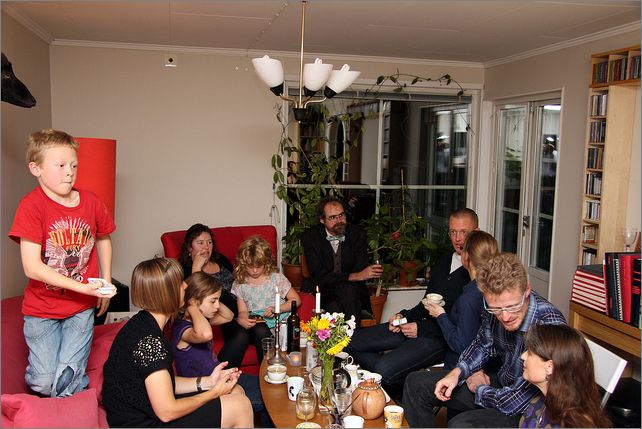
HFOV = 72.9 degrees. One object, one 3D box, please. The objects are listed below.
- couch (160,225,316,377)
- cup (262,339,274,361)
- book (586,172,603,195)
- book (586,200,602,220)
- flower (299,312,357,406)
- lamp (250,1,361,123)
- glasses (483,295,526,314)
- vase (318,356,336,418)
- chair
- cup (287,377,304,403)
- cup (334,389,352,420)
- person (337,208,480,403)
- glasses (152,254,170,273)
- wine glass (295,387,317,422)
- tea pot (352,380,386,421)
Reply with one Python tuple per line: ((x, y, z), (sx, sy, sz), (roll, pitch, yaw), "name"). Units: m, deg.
((-0.693, 0.762, 4.664), (1.364, 1.789, 1.427), (2, -8, -36), "couch")
((-0.387, 0.992, 3.174), (0.121, 0.138, 0.125), (0, -8, 0), "cup")
((2.669, -0.281, 4.261), (0.167, 0.232, 0.231), (-1, -1, 41), "book")
((2.664, -0.045, 4.245), (0.147, 0.200, 0.203), (2, 0, 44), "book")
((0.045, 0.942, 2.753), (0.334, 0.486, 0.359), (-3, -14, 8), "flower")
((-0.212, -1.256, 3.648), (0.779, 1.045, 1.110), (-3, 5, -15), "lamp")
((1.072, 0.524, 2.536), (0.209, 0.117, 0.099), (1, 5, 29), "glasses")
((0.031, 1.037, 2.701), (0.095, 0.366, 0.253), (-1, 5, 0), "vase")
((1.582, 0.970, 2.488), (0.225, 0.301, 0.194), (17, -24, 43), "chair")
((-0.168, 1.109, 2.759), (0.107, 0.121, 0.132), (1, -2, -7), "cup")
((0.136, 1.127, 2.593), (0.113, 0.180, 0.052), (-2, 5, -10), "cup")
((0.814, 0.876, 3.662), (1.116, 1.898, 0.651), (4, 11, -14), "person")
((-1.027, 0.312, 2.802), (0.124, 0.130, 0.037), (6, 13, 33), "glasses")
((-0.093, 1.139, 2.626), (0.123, 0.197, 0.076), (-1, 5, 0), "wine glass")
((0.306, 1.136, 2.721), (0.173, 0.196, 0.223), (3, 4, 14), "tea pot")
